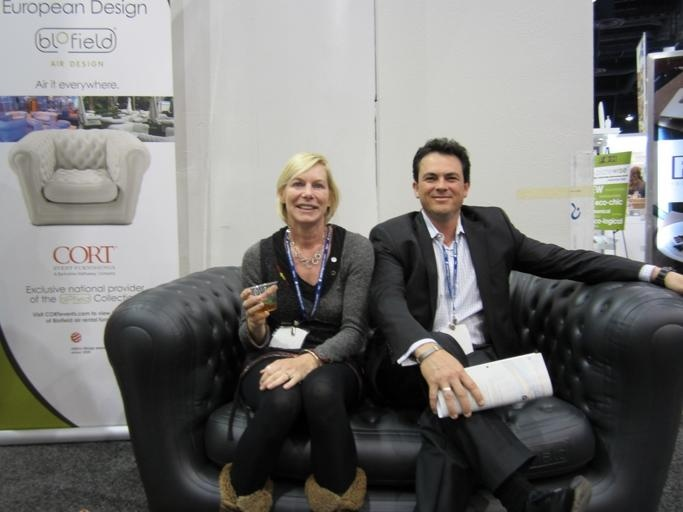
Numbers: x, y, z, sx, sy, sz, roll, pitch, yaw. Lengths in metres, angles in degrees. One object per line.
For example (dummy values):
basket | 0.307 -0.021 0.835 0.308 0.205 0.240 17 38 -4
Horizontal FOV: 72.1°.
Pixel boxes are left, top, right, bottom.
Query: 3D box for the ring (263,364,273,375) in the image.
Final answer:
ring | -0.349 0.538 2.229 0.035 0.017 0.055 1 9 -12

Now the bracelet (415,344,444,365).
bracelet | 0.399 0.433 2.114 0.109 0.120 0.068 -21 50 -16

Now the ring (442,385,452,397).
ring | 0.456 0.574 2.010 0.043 0.035 0.028 -2 8 -6

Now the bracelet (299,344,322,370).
bracelet | -0.157 0.501 2.310 0.046 0.071 0.092 -30 57 -10
